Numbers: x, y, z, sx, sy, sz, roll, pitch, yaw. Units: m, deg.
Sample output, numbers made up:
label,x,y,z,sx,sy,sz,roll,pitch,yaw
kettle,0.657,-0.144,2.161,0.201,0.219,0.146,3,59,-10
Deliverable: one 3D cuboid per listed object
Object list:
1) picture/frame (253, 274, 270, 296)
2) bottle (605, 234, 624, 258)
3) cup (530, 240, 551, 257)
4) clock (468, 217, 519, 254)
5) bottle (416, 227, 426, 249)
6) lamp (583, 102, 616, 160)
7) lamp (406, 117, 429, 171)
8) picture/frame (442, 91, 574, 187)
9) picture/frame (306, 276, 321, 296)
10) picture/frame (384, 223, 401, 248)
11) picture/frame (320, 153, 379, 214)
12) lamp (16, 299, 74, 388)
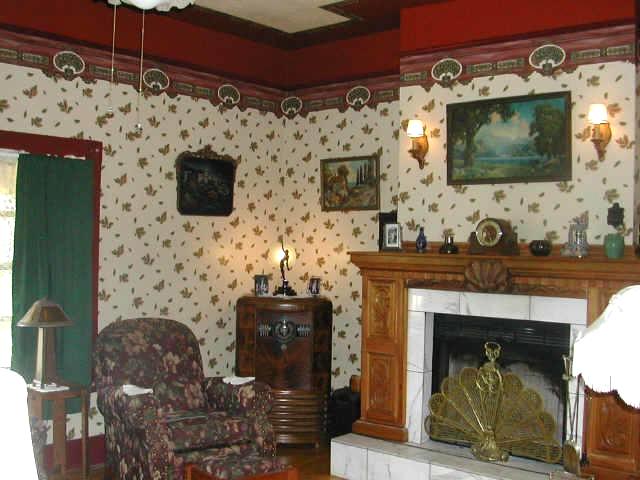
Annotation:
label,x,y,z,sx,sy,sz,roll,pitch,yaw
picture/frame,-0.606,0.472,5.967,0.169,0.353,0.178,1,-1,-8
bottle,2.150,0.041,4.179,0.131,0.194,0.214,0,-2,28
cup,1.726,0.064,4.476,0.166,0.139,0.214,0,-3,22
clock,1.409,-0.015,4.667,0.344,0.298,0.191,2,1,44
bottle,0.903,-0.012,5.059,0.094,0.215,0.189,0,-2,9
lamp,2.135,-0.837,4.363,0.157,0.435,0.147,0,-2,31
lamp,0.878,-0.859,5.112,0.182,0.438,0.173,0,-2,18
picture/frame,1.608,-0.830,4.744,0.764,0.591,0.032,0,1,32
picture/frame,-0.045,0.481,6.022,0.139,0.189,0.270,1,-2,1
picture/frame,0.646,-0.041,5.030,0.185,0.267,0.028,-1,-5,21
picture/frame,0.341,-0.587,5.985,0.591,0.586,0.084,0,-2,35
lamp,-2.181,0.796,4.464,0.446,0.675,0.313,-1,-3,39
